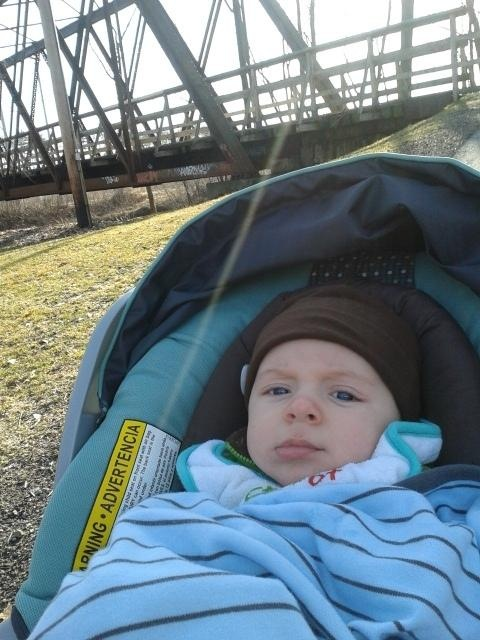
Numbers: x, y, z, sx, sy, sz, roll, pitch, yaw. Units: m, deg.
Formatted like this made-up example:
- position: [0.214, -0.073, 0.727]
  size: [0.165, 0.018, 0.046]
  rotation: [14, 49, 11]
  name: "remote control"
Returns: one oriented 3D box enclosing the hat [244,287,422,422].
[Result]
- position: [0.248, 0.125, 1.233]
  size: [0.315, 0.332, 0.269]
  rotation: [11, 39, 37]
  name: "hat"
